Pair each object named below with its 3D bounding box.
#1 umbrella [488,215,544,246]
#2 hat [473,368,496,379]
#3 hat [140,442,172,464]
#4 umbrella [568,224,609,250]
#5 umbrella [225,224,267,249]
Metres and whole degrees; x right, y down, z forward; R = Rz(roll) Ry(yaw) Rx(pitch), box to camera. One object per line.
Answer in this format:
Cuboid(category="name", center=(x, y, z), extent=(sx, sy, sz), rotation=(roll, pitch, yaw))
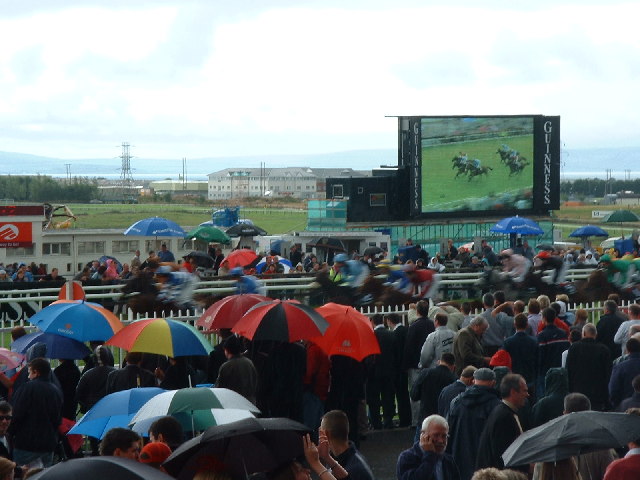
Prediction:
Cuboid(category="umbrella", center=(6.548, -0.230, 53.105), extent=(0.986, 0.934, 1.009), rotation=(-5, 10, -28))
Cuboid(category="hat", center=(2.587, 2.167, 24.702), extent=(0.335, 0.165, 0.298), rotation=(0, 0, 6))
Cuboid(category="hat", center=(-2.421, 3.216, 23.135), extent=(0.468, 0.326, 0.459), rotation=(0, 0, -6))
Cuboid(category="umbrella", center=(10.196, -0.001, 59.470), extent=(1.036, 1.179, 1.096), rotation=(-2, 9, -11))
Cuboid(category="umbrella", center=(-2.153, -0.161, 45.284), extent=(0.892, 0.684, 0.964), rotation=(1, 1, -1))
